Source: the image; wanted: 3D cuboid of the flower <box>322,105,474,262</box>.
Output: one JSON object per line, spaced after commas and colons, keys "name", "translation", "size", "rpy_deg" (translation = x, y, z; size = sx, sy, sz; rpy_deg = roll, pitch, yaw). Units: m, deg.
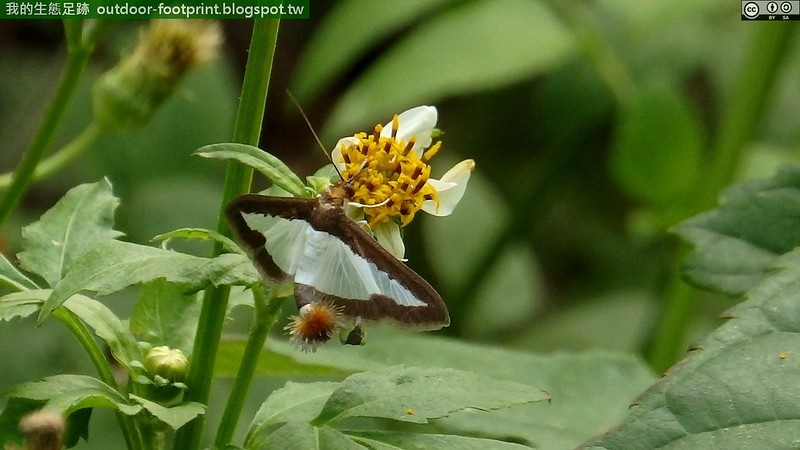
{"name": "flower", "translation": [-0.015, -0.160, 2.463], "size": [0.498, 0.443, 0.220], "rpy_deg": [-19, -2, -40]}
